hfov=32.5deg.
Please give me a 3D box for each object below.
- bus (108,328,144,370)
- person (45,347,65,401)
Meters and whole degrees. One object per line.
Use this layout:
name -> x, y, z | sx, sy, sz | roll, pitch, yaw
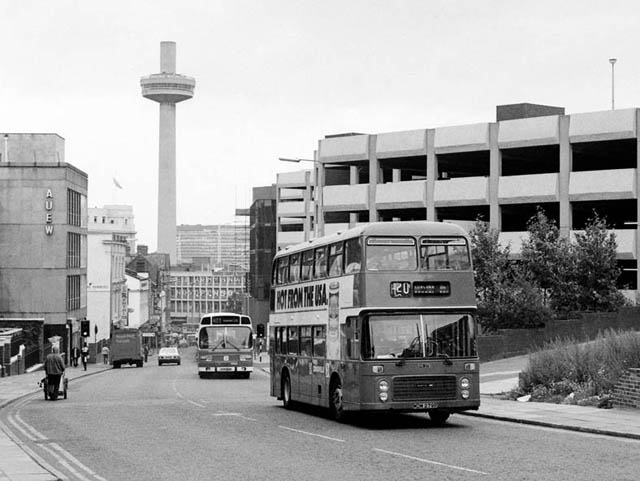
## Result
bus -> -14.461, 6.771, 81.470 | 2.236, 3.169, 4.662 | -1, 24, -10
person -> -10.170, 5.103, 41.991 | 0.757, 1.423, 2.273 | -4, -3, -15
